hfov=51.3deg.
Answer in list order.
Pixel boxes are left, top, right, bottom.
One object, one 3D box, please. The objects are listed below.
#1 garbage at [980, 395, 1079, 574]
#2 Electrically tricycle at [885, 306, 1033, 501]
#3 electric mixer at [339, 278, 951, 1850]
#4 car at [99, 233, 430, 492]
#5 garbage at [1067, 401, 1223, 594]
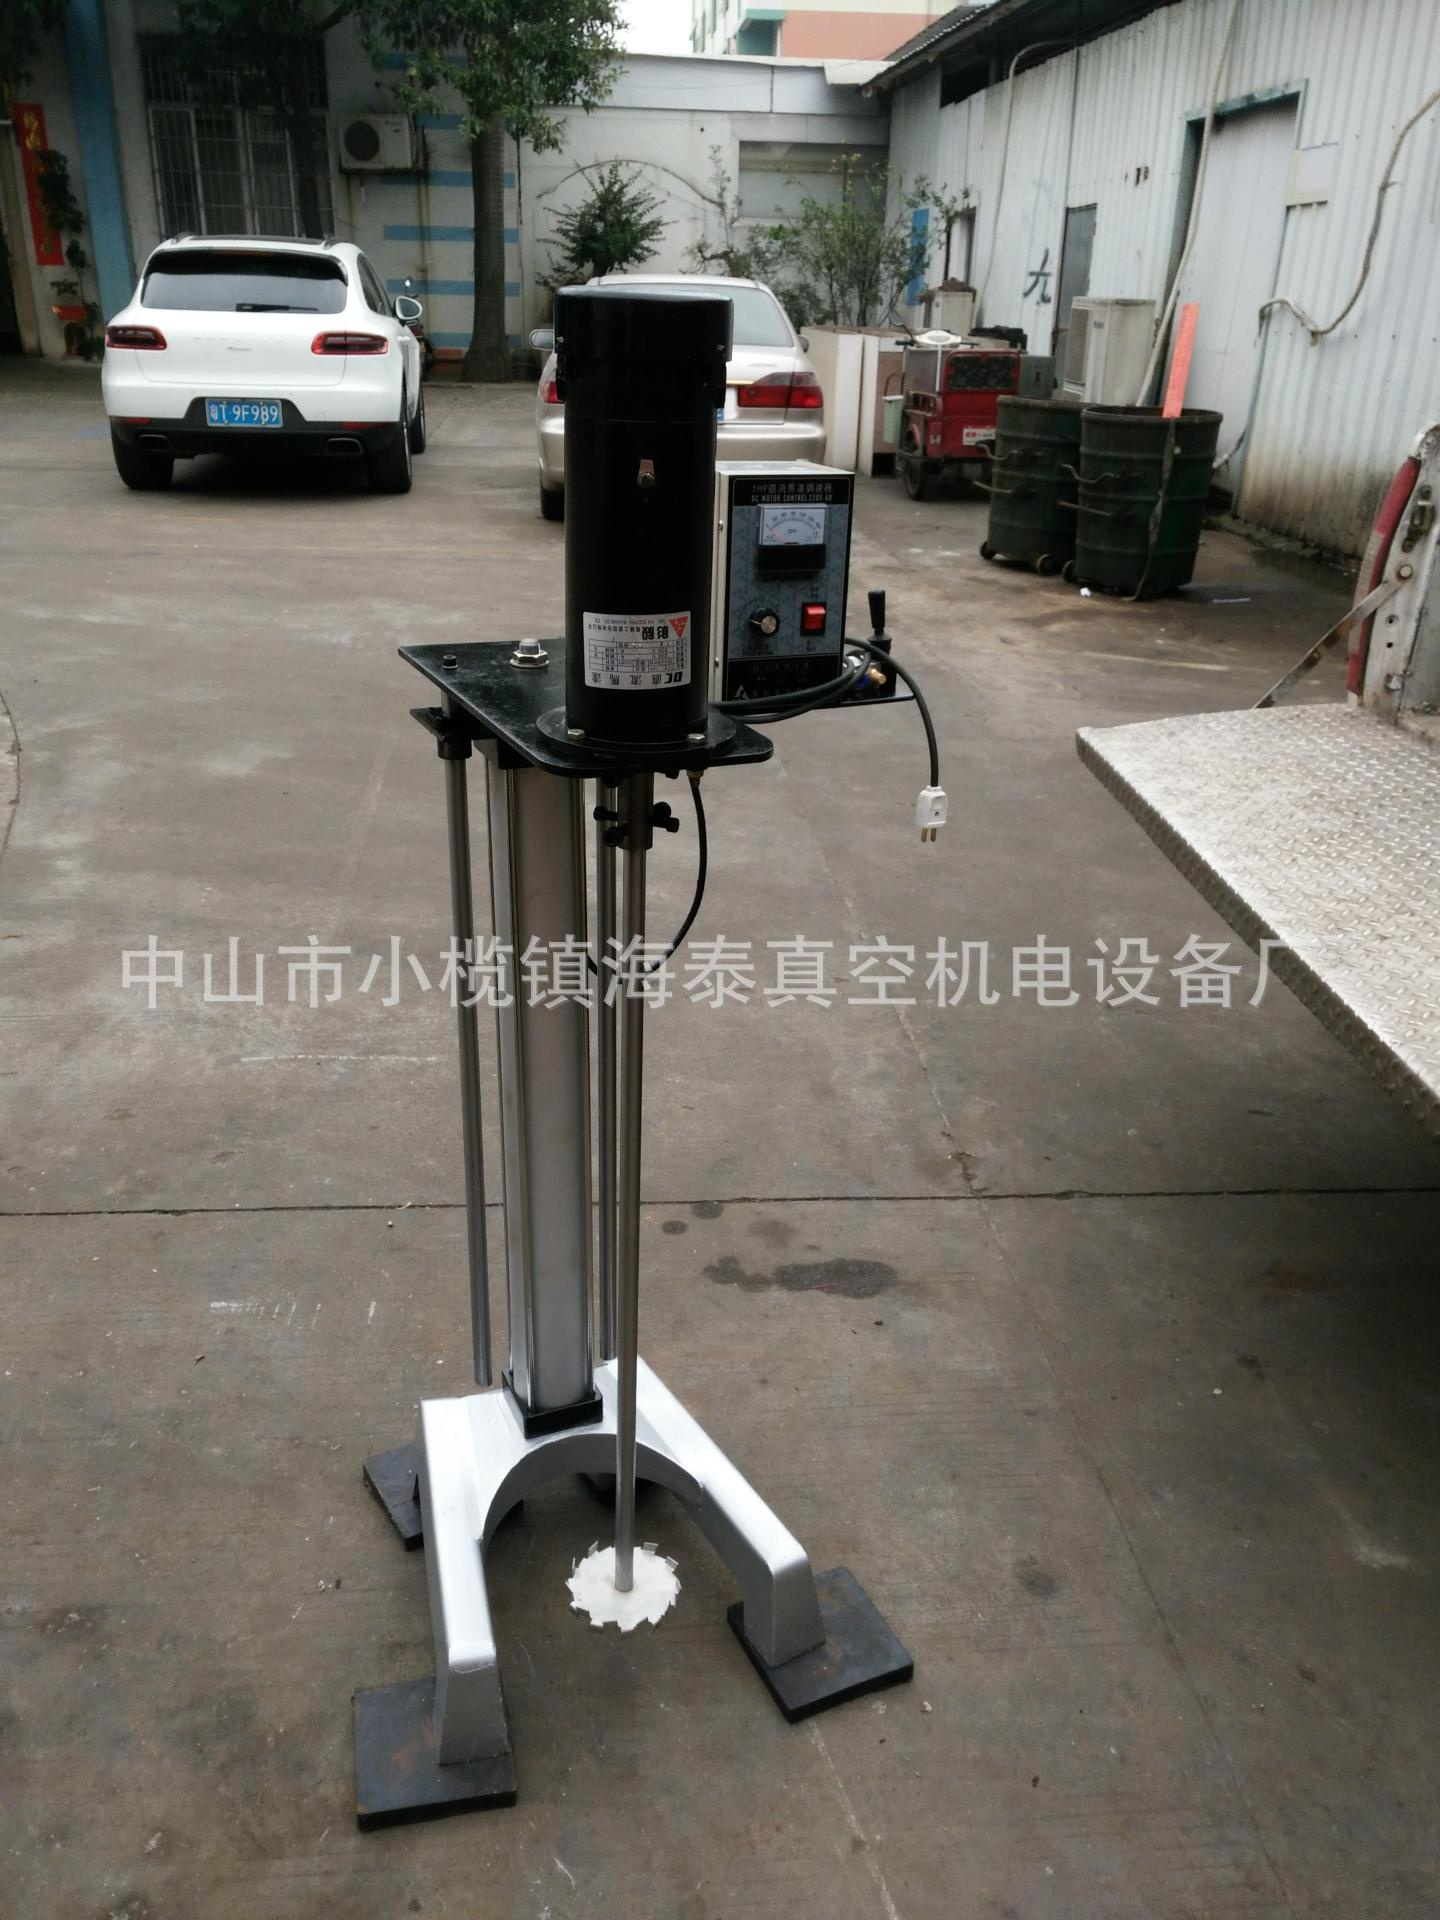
[{"bbox_3d":[1.688,-2.579,8.030,0.460,1.027,0.493,-11,29,-26],"label":"garbage"},{"bbox_3d":[1.637,-3.843,10.465,0.706,1.028,1.153,-4,23,-8],"label":"Electrically tricycle"},{"bbox_3d":[-0.183,0.095,1.590,0.591,1.439,0.733,-13,22,-38],"label":"electric mixer"},{"bbox_3d":[-2.839,-4.000,10.003,1.706,1.512,3.682,-1,23,-5],"label":"car"},{"bbox_3d":[2.131,-2.328,7.566,0.745,0.895,0.699,-16,31,-24],"label":"garbage"}]
